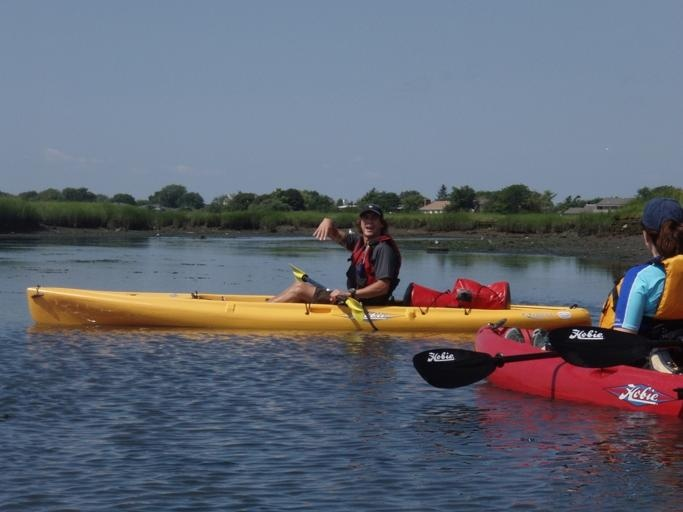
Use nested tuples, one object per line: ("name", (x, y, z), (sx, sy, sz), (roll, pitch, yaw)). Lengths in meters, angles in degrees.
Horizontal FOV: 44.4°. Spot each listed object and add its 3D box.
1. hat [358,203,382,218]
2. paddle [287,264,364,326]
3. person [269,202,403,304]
("hat", (0.376, -0.560, 10.352), (0.284, 0.180, 0.307), (1, 11, -1))
("paddle", (-0.285, 0.381, 10.750), (0.266, 0.985, 0.103), (-44, -30, -22))
("person", (0.051, -0.001, 10.463), (1.342, 1.315, 0.682), (9, 16, 30))
